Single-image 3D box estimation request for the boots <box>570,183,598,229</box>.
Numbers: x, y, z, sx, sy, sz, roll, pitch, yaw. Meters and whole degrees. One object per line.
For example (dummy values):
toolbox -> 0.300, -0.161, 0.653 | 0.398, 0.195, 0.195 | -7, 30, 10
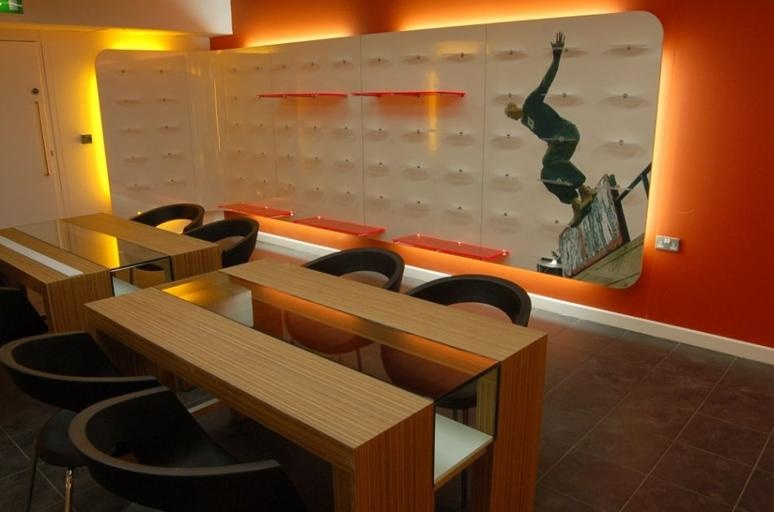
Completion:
boots -> 1.905, -0.505, 5.189 | 0.143, 0.424, 0.181 | -6, 50, -34
